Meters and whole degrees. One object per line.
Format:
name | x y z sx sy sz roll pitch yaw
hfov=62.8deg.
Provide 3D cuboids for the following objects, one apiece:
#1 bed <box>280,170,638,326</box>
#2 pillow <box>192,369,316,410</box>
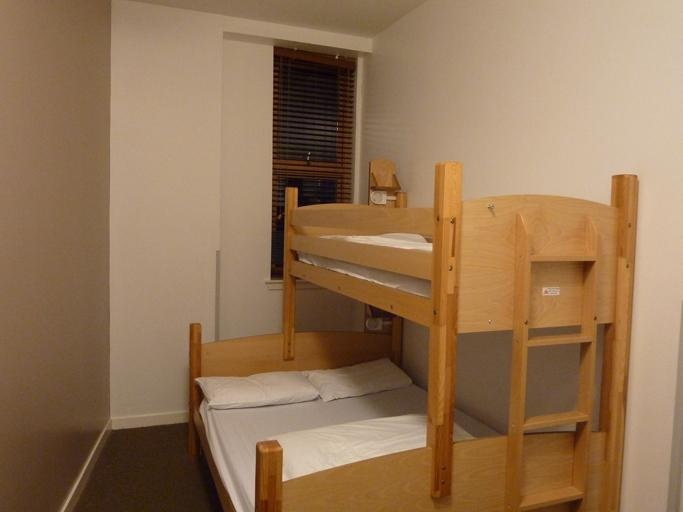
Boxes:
bed | 0.490 0.025 2.749 0.797 0.778 1.186 0 2 -20
pillow | -0.480 0.812 3.417 0.463 0.085 0.284 3 10 -24
